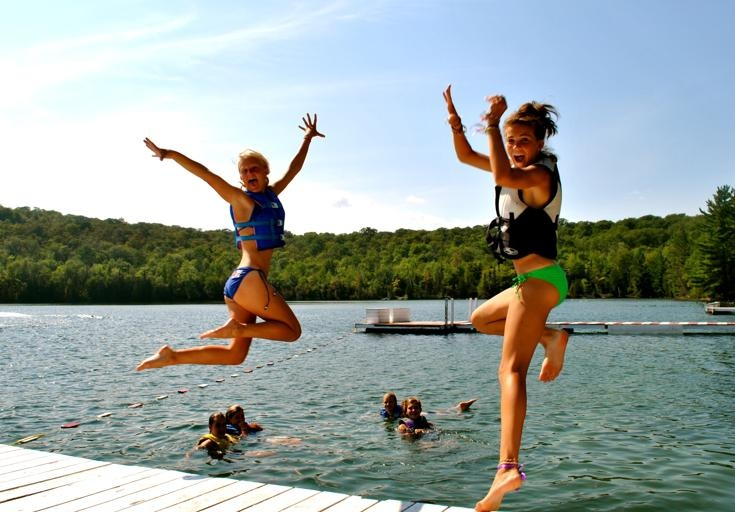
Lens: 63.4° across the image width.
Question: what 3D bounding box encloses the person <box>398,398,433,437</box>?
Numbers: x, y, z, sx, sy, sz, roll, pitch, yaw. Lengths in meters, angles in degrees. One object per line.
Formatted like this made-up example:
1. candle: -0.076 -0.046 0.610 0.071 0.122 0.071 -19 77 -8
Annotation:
1. person: 1.018 3.701 13.419 0.879 0.390 1.146 7 11 21

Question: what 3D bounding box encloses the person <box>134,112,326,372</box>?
1. person: -1.759 0.039 7.883 1.702 2.924 1.104 1 -4 -12
